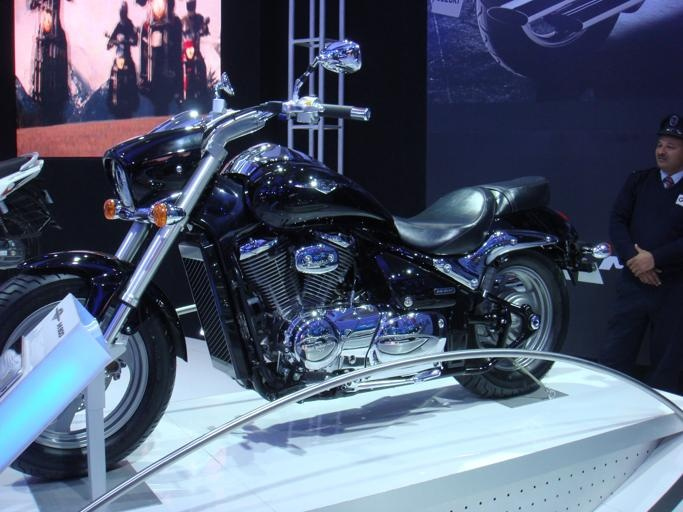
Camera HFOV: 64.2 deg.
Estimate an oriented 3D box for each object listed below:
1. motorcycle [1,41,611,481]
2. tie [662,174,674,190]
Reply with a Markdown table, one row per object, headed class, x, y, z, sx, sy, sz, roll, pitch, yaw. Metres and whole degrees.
| class | x | y | z | sx | sy | sz | roll | pitch | yaw |
| --- | --- | --- | --- | --- | --- | --- | --- | --- | --- |
| motorcycle | -0.063 | -0.037 | 2.323 | 2.434 | 1.617 | 0.505 | -5 | 12 | -29 |
| tie | 2.004 | -0.463 | 3.321 | 0.029 | 0.071 | 0.072 | 6 | 17 | -35 |
